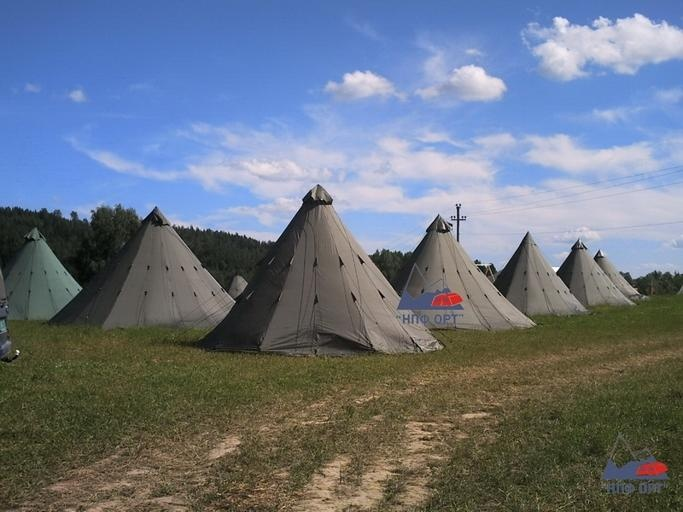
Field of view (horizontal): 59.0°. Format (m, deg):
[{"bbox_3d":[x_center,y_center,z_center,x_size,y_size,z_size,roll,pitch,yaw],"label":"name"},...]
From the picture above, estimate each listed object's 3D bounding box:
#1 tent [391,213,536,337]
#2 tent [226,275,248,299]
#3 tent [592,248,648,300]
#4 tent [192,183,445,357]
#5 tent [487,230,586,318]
[{"bbox_3d":[5.022,1.409,28.877,5.753,4.023,5.928,0,-6,-9],"label":"tent"},{"bbox_3d":[-7.935,2.275,45.420,1.823,2.173,1.293,2,-15,-12],"label":"tent"},{"bbox_3d":[21.938,2.156,48.497,3.985,3.121,4.012,-3,-5,-16],"label":"tent"},{"bbox_3d":[-0.768,0.913,19.878,6.401,4.062,3.542,-1,11,-4],"label":"tent"},{"bbox_3d":[10.520,0.533,35.256,4.431,3.815,5.746,-8,20,-30],"label":"tent"}]
